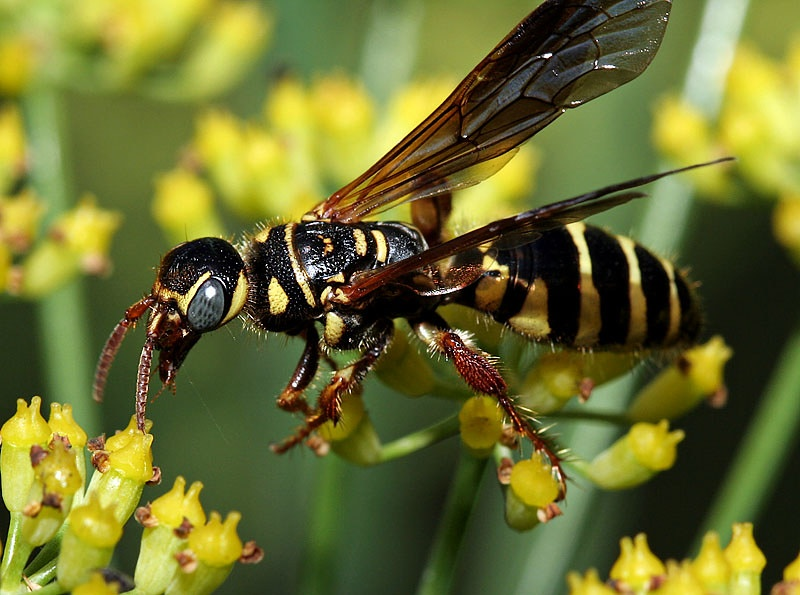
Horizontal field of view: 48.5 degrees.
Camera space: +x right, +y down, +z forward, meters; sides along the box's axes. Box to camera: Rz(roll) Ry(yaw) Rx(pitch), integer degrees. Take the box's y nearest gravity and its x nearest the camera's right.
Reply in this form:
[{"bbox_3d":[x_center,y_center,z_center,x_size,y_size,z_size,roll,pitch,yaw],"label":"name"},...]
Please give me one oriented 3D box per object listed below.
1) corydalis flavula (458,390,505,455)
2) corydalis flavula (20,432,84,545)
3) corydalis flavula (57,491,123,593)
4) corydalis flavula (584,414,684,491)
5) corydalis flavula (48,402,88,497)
[{"bbox_3d":[0.147,0.219,1.552,0.113,0.116,0.030,0,-1,11],"label":"corydalis flavula"},{"bbox_3d":[-0.507,0.280,1.287,0.077,0.153,0.055,17,3,11],"label":"corydalis flavula"},{"bbox_3d":[-0.439,0.347,1.254,0.072,0.125,0.092,9,-16,-30],"label":"corydalis flavula"},{"bbox_3d":[0.409,0.293,1.608,0.188,0.085,0.087,-35,-60,22],"label":"corydalis flavula"},{"bbox_3d":[-0.510,0.226,1.368,0.099,0.135,0.040,-2,2,-22],"label":"corydalis flavula"}]
